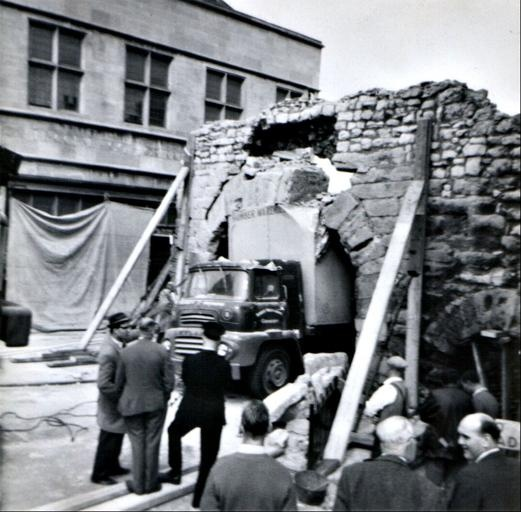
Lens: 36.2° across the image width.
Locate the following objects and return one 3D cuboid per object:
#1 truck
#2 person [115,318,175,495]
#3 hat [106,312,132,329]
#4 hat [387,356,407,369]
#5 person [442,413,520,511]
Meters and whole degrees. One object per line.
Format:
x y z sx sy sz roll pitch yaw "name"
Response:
0.376 0.736 13.572 2.118 2.688 4.613 4 4 35 "truck"
-1.263 1.603 8.544 0.633 1.836 0.233 5 -7 -13 "person"
-1.557 0.701 8.682 0.205 0.097 0.203 -7 2 21 "hat"
1.659 1.323 9.671 0.186 0.098 0.182 -8 14 -37 "hat"
1.987 1.855 7.177 0.570 0.828 0.491 1 -7 17 "person"
